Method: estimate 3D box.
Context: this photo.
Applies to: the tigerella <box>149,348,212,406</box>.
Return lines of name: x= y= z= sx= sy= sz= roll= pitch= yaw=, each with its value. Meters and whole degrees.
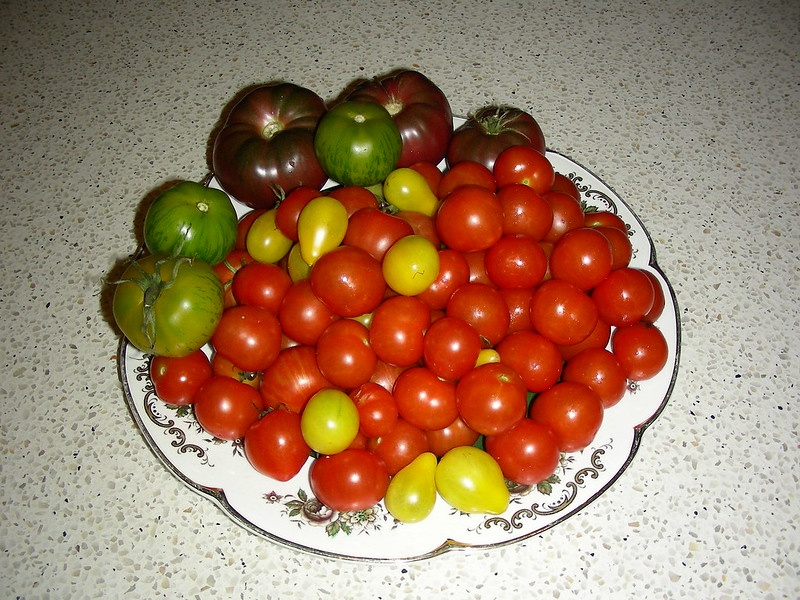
tigerella: x=-0.368 y=0.128 z=1.238 sx=0.086 sy=0.092 sz=0.094 roll=-23 pitch=26 yaw=5

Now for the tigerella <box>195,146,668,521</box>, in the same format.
tigerella: x=0.053 y=0.099 z=1.172 sx=0.669 sy=0.205 sz=0.566 roll=-10 pitch=69 yaw=-11

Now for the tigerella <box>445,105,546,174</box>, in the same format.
tigerella: x=0.185 y=-0.326 z=1.368 sx=0.145 sy=0.148 sz=0.159 roll=-4 pitch=68 yaw=25

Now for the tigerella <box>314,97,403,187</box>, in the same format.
tigerella: x=-0.082 y=-0.284 z=1.320 sx=0.147 sy=0.147 sz=0.164 roll=18 pitch=43 yaw=6

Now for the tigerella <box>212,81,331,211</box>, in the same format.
tigerella: x=-0.253 y=-0.304 z=1.405 sx=0.261 sy=0.148 sz=0.248 roll=-20 pitch=56 yaw=-29
